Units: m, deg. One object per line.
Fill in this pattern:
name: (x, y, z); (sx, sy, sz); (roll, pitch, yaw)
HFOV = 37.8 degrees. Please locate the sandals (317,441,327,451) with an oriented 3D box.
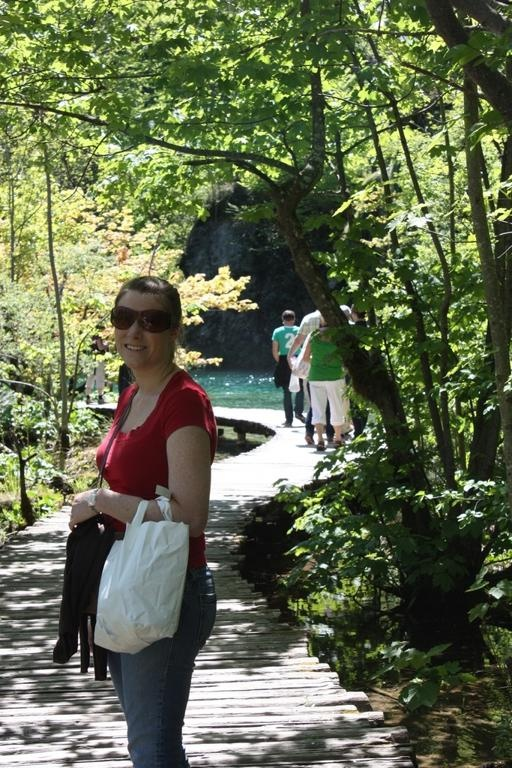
sandals: (0.830, 0.811, 9.579); (0.095, 0.136, 0.147); (1, -12, 4)

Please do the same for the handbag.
handbag: (-0.229, 0.366, 1.419); (0.174, 0.280, 0.098); (-2, -3, 38)

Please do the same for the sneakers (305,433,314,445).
sneakers: (0.732, 0.774, 10.328); (0.069, 0.170, 0.124); (5, -43, -1)

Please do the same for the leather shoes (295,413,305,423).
leather shoes: (0.754, 0.628, 12.586); (0.094, 0.252, 0.100); (-12, 34, 12)
